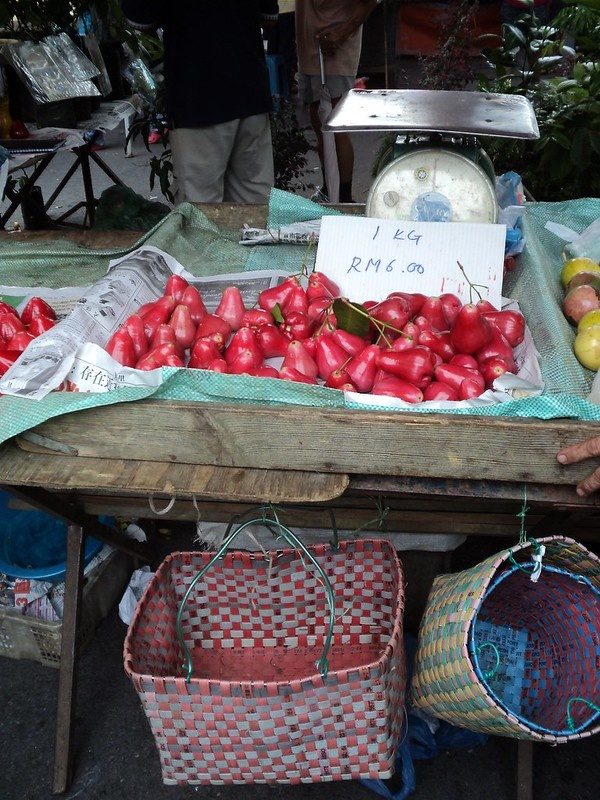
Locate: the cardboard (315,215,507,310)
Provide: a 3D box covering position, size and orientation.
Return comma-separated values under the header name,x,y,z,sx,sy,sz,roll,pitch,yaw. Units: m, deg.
name,x,y,z,sx,sy,sz,roll,pitch,yaw
cardboard,0.240,-0.283,1.276,0.250,0.012,0.144,5,86,9
